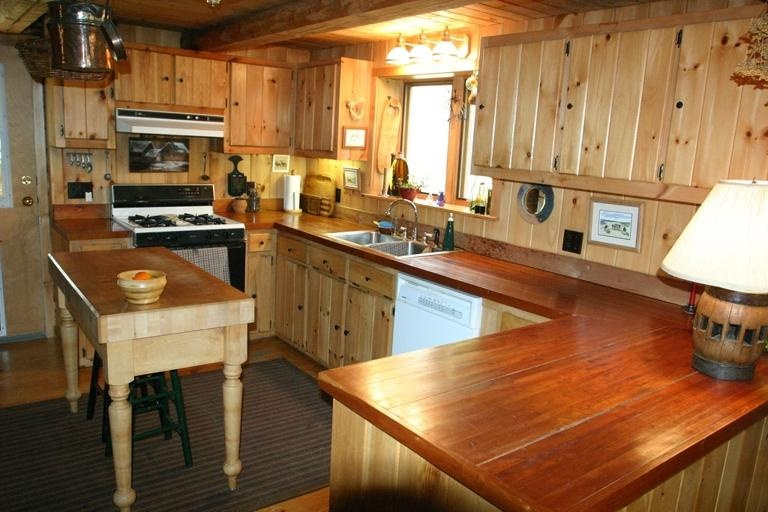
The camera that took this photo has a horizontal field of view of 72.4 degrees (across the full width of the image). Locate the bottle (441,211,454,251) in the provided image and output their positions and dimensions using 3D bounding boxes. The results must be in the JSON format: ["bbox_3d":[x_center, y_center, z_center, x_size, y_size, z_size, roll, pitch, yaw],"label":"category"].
[{"bbox_3d":[0.535,-0.201,4.287,0.096,0.284,0.249,3,15,8],"label":"bottle"}]

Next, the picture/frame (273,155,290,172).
[{"bbox_3d":[-1.116,-1.006,5.694,0.196,0.157,0.025,-6,18,-31],"label":"picture/frame"}]

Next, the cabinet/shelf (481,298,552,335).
[{"bbox_3d":[0.788,0.350,3.074,0.124,0.193,0.228,-9,15,-43],"label":"cabinet/shelf"}]

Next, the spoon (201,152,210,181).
[{"bbox_3d":[-1.813,-0.898,5.325,0.098,0.292,0.047,-6,17,-22],"label":"spoon"}]

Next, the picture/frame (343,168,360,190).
[{"bbox_3d":[-0.310,-0.769,5.222,0.020,0.177,0.236,-12,20,-39],"label":"picture/frame"}]

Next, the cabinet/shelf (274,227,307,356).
[{"bbox_3d":[-0.862,0.320,4.893,0.154,1.012,0.557,-10,18,-31],"label":"cabinet/shelf"}]

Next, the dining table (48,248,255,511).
[{"bbox_3d":[-1.440,0.812,3.232,0.827,0.980,1.523,-4,13,-33],"label":"dining table"}]

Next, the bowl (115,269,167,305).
[{"bbox_3d":[-1.313,0.164,2.875,0.240,0.129,0.244,4,15,-1],"label":"bowl"}]

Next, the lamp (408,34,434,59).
[{"bbox_3d":[0.310,-1.712,4.308,0.165,0.239,0.428,2,13,5],"label":"lamp"}]

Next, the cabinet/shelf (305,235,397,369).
[{"bbox_3d":[-0.252,0.352,4.174,0.474,0.980,1.183,-3,9,-39],"label":"cabinet/shelf"}]

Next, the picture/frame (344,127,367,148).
[{"bbox_3d":[-0.279,-1.118,4.972,0.236,0.148,0.016,-8,13,-36],"label":"picture/frame"}]

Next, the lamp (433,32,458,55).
[{"bbox_3d":[0.471,-1.621,4.066,0.223,0.199,0.200,2,20,4],"label":"lamp"}]

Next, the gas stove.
[{"bbox_3d":[-1.884,-0.282,4.825,0.995,0.297,0.793,-7,15,-30],"label":"gas stove"}]

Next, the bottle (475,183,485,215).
[{"bbox_3d":[0.776,-0.458,4.188,0.066,0.232,0.137,3,15,9],"label":"bottle"}]

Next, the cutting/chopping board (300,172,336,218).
[{"bbox_3d":[-0.674,-0.636,5.541,0.504,0.382,0.071,18,16,39],"label":"cutting/chopping board"}]

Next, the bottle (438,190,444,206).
[{"bbox_3d":[0.498,-0.495,4.533,0.060,0.105,0.179,2,13,6],"label":"bottle"}]

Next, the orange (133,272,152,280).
[{"bbox_3d":[-1.312,0.110,2.858,0.065,0.038,0.068,8,13,-11],"label":"orange"}]
